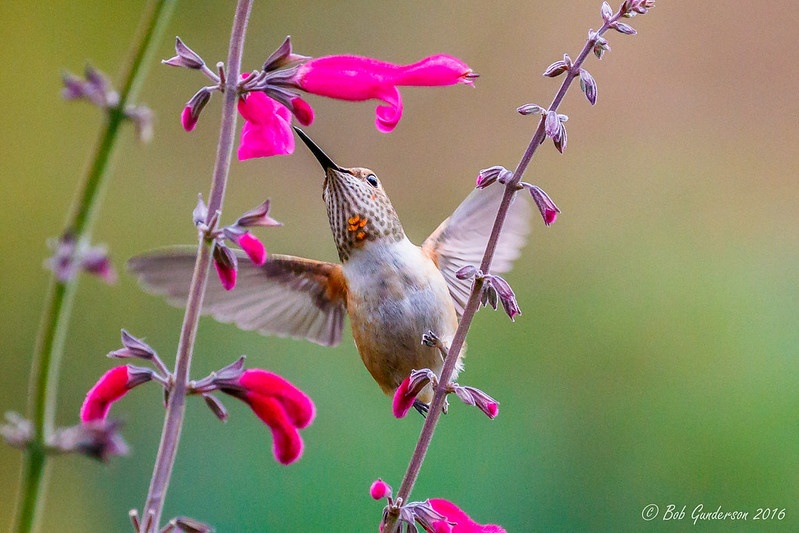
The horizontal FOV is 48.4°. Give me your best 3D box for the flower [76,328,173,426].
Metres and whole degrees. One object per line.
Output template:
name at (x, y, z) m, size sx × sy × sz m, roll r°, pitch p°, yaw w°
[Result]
flower at (-0.465, 0.200, 1.517) m, size 0.097 × 0.093 × 0.245 m, roll 26°, pitch -42°, yaw -33°
